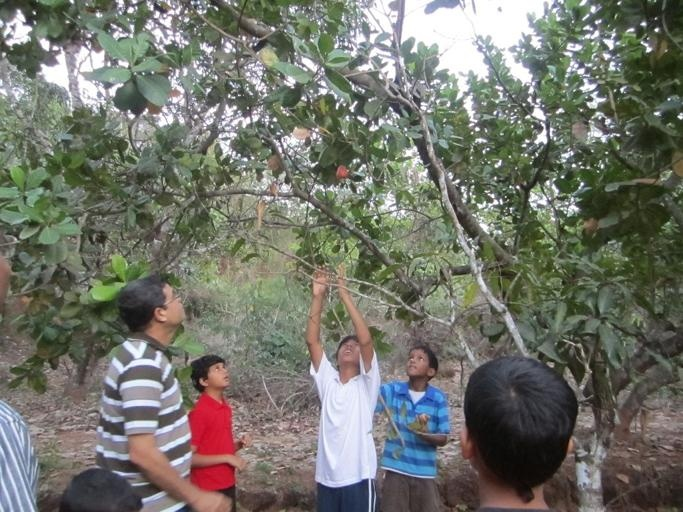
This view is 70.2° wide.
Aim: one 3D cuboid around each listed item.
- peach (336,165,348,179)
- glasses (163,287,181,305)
[{"bbox_3d":[0.003,-0.568,3.379,0.078,0.091,0.153,-2,-17,-3],"label":"peach"},{"bbox_3d":[-0.981,0.231,2.801,0.089,0.028,0.089,28,-7,-6],"label":"glasses"}]
